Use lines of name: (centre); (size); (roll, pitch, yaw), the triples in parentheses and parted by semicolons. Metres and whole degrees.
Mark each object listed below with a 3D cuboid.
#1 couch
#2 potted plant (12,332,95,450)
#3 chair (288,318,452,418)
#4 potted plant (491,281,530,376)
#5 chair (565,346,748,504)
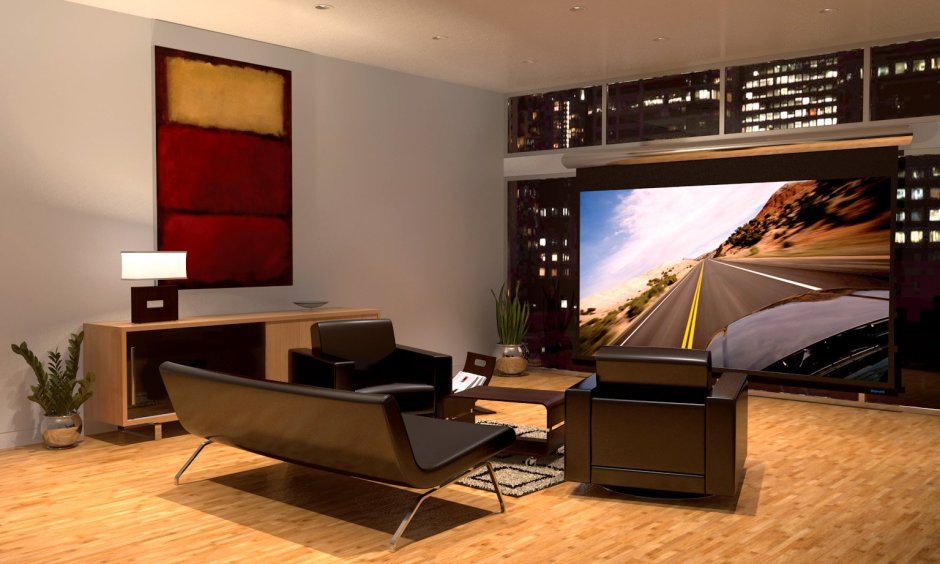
couch: (-1.058, 1.085, 4.783); (2.631, 0.758, 0.876); (3, 9, 23)
potted plant: (-4.283, 1.112, 6.145); (0.631, 1.173, 0.506); (-7, 11, -37)
chair: (-1.096, 0.862, 6.398); (1.293, 0.946, 1.240); (2, -4, -34)
potted plant: (0.675, 0.723, 9.526); (0.573, 1.380, 0.816); (0, 9, 3)
chair: (1.705, 1.145, 5.397); (1.481, 1.165, 1.364); (-1, 0, 23)
